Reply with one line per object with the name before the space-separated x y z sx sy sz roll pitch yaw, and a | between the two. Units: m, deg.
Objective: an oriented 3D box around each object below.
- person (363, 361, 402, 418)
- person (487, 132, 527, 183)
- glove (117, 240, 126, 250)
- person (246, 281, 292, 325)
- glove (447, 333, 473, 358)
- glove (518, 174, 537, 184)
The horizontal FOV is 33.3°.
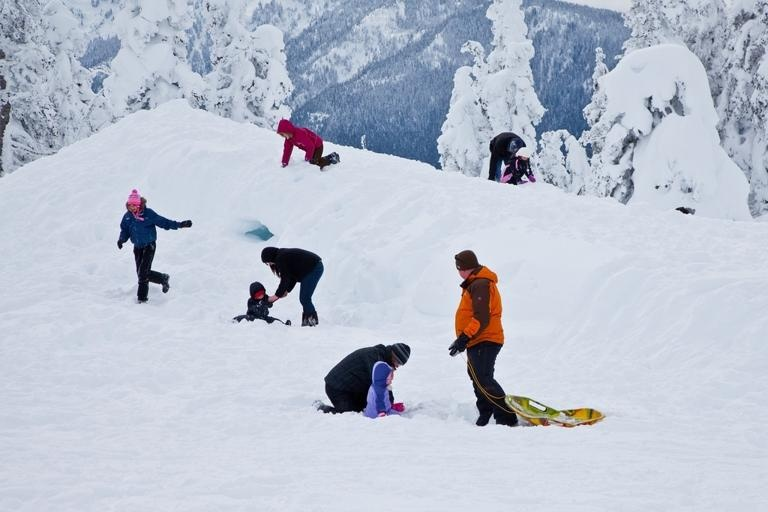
person | -0.174 4.026 40.564 1.061 1.613 1.534 5 11 9
person | 4.541 -4.044 49.097 0.923 1.482 2.565 -8 -6 -17
glove | -9.116 -0.411 44.158 0.305 0.387 0.104 -10 55 -9
person | -4.215 1.595 44.634 1.449 1.486 1.026 0 -8 -6
glove | 2.350 2.808 40.060 0.454 0.780 0.231 48 9 33
glove | 5.423 -2.910 48.487 0.482 0.246 0.346 -5 -5 43
